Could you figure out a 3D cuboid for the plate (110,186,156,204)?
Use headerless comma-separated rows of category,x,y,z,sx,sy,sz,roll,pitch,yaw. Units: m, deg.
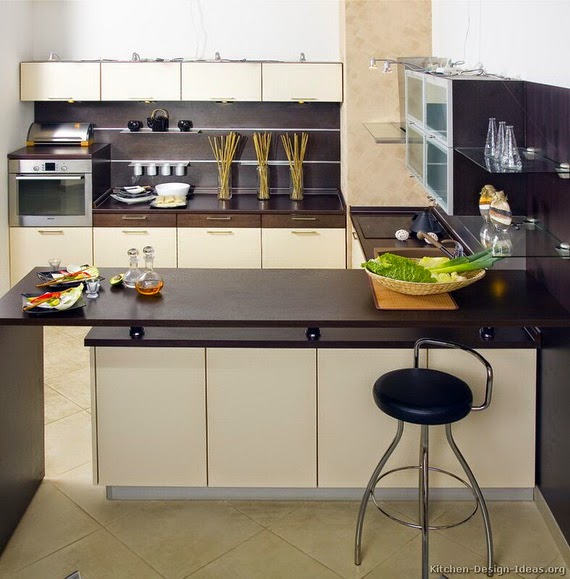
plate,-1.412,-0.854,5.203,0.261,0.083,0.249,7,15,27

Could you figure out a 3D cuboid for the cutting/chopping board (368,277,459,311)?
cutting/chopping board,0.510,0.021,2.303,0.308,0.050,0.335,0,13,4

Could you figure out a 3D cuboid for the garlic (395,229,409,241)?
garlic,0.751,-0.350,3.768,0.067,0.066,0.084,12,22,-32

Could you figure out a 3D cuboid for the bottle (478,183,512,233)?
bottle,0.865,-0.341,2.386,0.099,0.175,0.327,3,13,15

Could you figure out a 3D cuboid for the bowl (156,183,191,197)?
bowl,-1.036,-0.911,5.273,0.332,0.125,0.592,-3,13,-10

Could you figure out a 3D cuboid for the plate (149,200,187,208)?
plate,-1.006,-0.742,4.950,0.289,0.088,0.129,-3,13,-11

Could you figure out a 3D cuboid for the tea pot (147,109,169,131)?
tea pot,-1.170,-1.563,5.297,0.240,0.255,0.134,2,10,2
